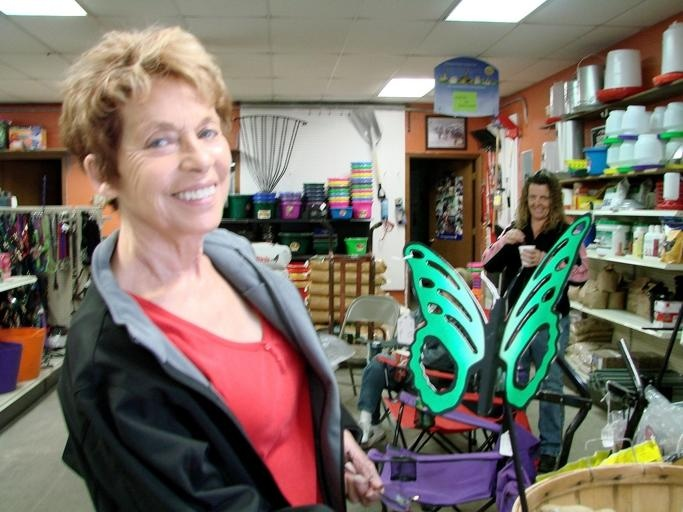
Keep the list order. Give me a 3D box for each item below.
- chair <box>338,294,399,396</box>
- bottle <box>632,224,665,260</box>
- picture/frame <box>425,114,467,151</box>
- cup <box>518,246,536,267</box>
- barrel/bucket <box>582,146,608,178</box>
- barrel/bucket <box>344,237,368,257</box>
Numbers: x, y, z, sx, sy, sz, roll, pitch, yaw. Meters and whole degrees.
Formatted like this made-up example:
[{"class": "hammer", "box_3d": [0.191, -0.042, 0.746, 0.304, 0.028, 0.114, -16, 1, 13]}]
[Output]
[{"class": "chair", "box_3d": [0.251, 0.566, 4.240, 0.398, 0.651, 0.457, 0, 1, 28]}, {"class": "bottle", "box_3d": [2.254, -0.096, 3.819, 0.177, 0.362, 0.198, 1, 1, 23]}, {"class": "picture/frame", "box_3d": [1.517, -1.820, 7.592, 0.527, 0.506, 0.056, 0, 6, 4]}, {"class": "cup", "box_3d": [1.062, 0.000, 2.957, 0.106, 0.129, 0.110, 0, -5, 0]}, {"class": "barrel/bucket", "box_3d": [2.218, -0.828, 4.560, 0.216, 0.266, 0.230, 0, -7, 0]}, {"class": "barrel/bucket", "box_3d": [0.170, -0.104, 6.081, 0.186, 0.179, 0.234, 0, -2, 0]}]
